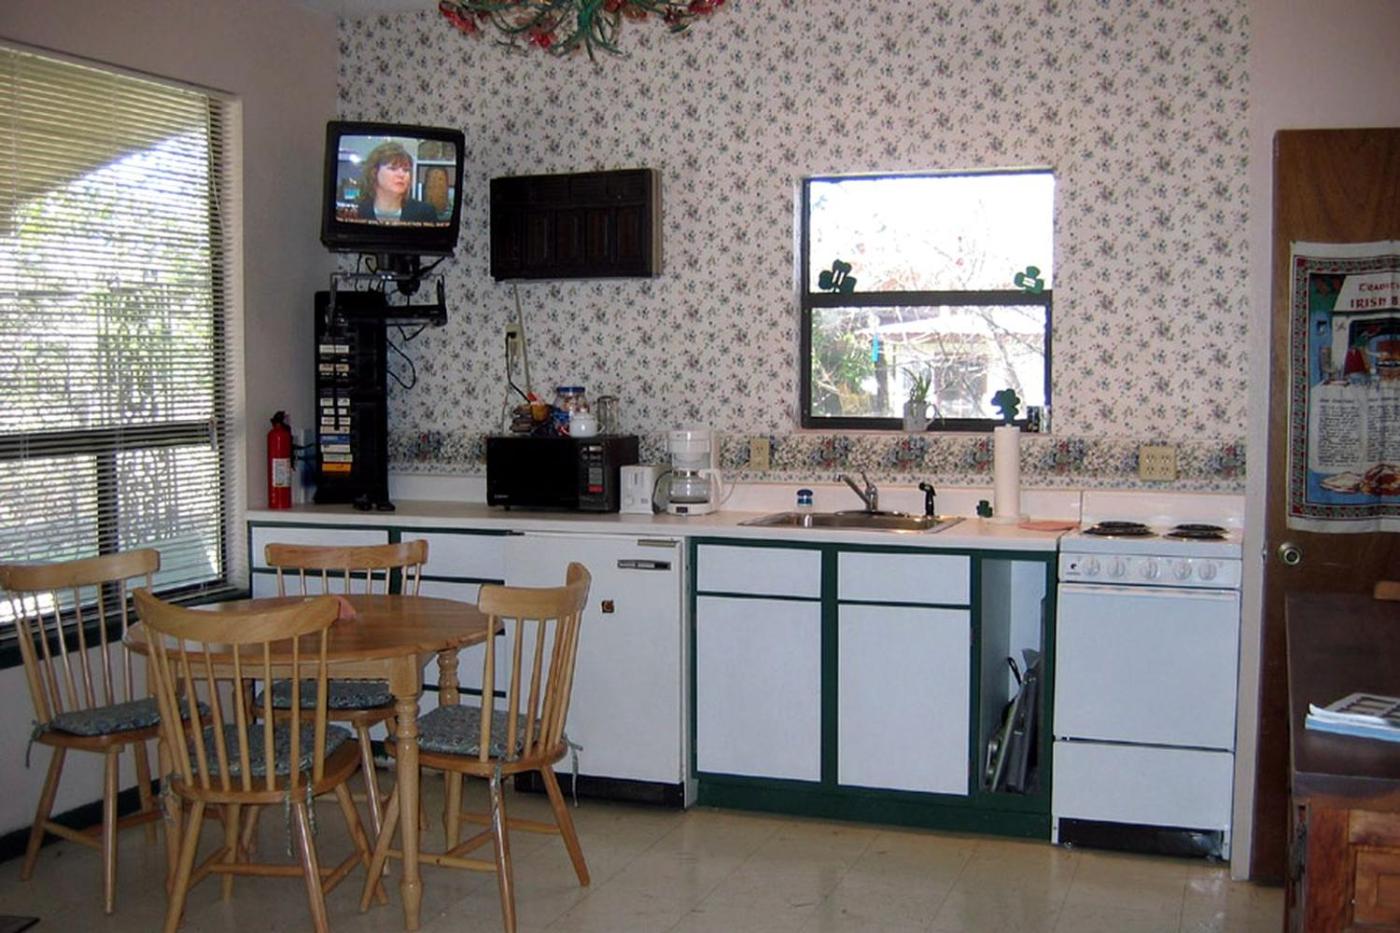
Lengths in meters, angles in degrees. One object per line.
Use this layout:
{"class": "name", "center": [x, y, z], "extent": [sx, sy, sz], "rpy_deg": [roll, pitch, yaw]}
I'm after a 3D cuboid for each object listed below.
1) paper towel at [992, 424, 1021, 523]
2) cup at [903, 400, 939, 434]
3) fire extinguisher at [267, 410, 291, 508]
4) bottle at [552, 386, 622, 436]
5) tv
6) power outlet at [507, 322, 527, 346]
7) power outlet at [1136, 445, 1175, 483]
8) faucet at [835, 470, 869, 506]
{"class": "paper towel", "center": [1.385, 0.033, 4.934], "extent": [0.115, 0.414, 0.121], "rpy_deg": [2, 10, 12]}
{"class": "cup", "center": [1.070, -0.249, 5.319], "extent": [0.096, 0.148, 0.222], "rpy_deg": [8, 13, 40]}
{"class": "fire extinguisher", "center": [-2.151, -0.041, 5.533], "extent": [0.139, 0.471, 0.316], "rpy_deg": [-4, 11, -20]}
{"class": "bottle", "center": [-0.608, -0.272, 5.493], "extent": [0.359, 0.280, 0.204], "rpy_deg": [2, 1, 11]}
{"class": "tv", "center": [-1.542, -1.400, 5.362], "extent": [0.451, 0.412, 0.266], "rpy_deg": [-1, 12, -31]}
{"class": "power outlet", "center": [-0.995, -0.710, 5.767], "extent": [0.100, 0.107, 0.017], "rpy_deg": [2, 10, 12]}
{"class": "power outlet", "center": [2.077, -0.017, 4.968], "extent": [0.158, 0.160, 0.038], "rpy_deg": [3, 3, 16]}
{"class": "faucet", "center": [0.734, 0.107, 5.236], "extent": [0.164, 0.167, 0.255], "rpy_deg": [1, 10, 4]}
